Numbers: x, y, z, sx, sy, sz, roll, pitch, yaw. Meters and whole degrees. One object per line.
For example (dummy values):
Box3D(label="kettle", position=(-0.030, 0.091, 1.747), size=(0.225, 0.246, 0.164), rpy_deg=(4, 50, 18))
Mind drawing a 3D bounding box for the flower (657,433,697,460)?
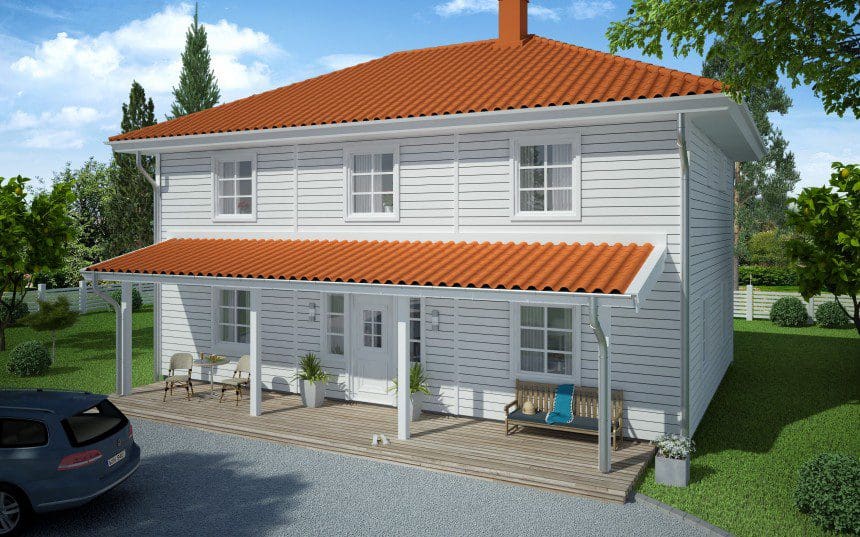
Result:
Box3D(label="flower", position=(6.142, 4.541, 17.446), size=(0.771, 0.430, 0.759), rpy_deg=(-2, 8, -3))

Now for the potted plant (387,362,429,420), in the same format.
Box3D(label="potted plant", position=(-0.529, 3.733, 20.290), size=(1.073, 1.132, 0.954), rpy_deg=(-5, -4, 4))

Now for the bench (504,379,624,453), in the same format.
Box3D(label="bench", position=(3.628, 4.026, 18.945), size=(3.095, 1.415, 0.897), rpy_deg=(0, 7, 31))

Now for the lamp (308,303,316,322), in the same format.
Box3D(label="lamp", position=(-3.736, 1.402, 21.867), size=(0.257, 0.564, 0.068), rpy_deg=(1, 1, 4))

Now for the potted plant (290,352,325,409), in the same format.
Box3D(label="potted plant", position=(-3.729, 3.492, 21.260), size=(0.939, 1.306, 0.735), rpy_deg=(-8, 0, 4))

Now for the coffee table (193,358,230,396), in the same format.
Box3D(label="coffee table", position=(-7.092, 3.395, 22.237), size=(1.268, 1.242, 1.212), rpy_deg=(2, 8, 3))
